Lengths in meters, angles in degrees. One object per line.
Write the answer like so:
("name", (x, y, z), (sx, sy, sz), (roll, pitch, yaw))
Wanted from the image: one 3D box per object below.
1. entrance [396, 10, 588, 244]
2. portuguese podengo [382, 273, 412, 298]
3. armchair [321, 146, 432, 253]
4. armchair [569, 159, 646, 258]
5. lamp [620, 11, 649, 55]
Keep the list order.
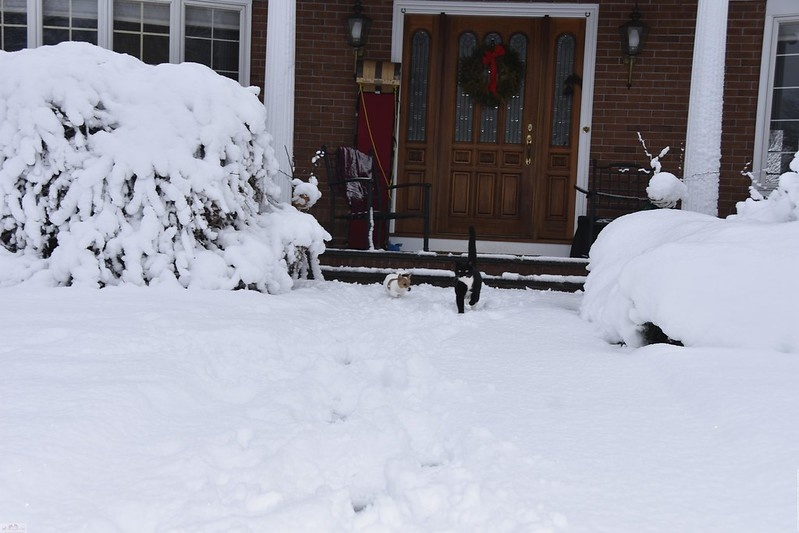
("entrance", (1.112, -1.745, 11.150), (2.507, 3.196, 0.402), (2, 6, -1))
("portuguese podengo", (-0.014, 0.164, 8.778), (0.127, 0.204, 0.342), (-3, 7, -19))
("armchair", (-0.270, -0.722, 10.336), (0.862, 1.247, 0.950), (-4, 4, -42))
("armchair", (2.366, -0.633, 10.637), (0.819, 1.062, 1.240), (4, 8, 14))
("lamp", (2.667, -2.661, 10.765), (0.287, 0.528, 0.178), (4, 8, 9))
